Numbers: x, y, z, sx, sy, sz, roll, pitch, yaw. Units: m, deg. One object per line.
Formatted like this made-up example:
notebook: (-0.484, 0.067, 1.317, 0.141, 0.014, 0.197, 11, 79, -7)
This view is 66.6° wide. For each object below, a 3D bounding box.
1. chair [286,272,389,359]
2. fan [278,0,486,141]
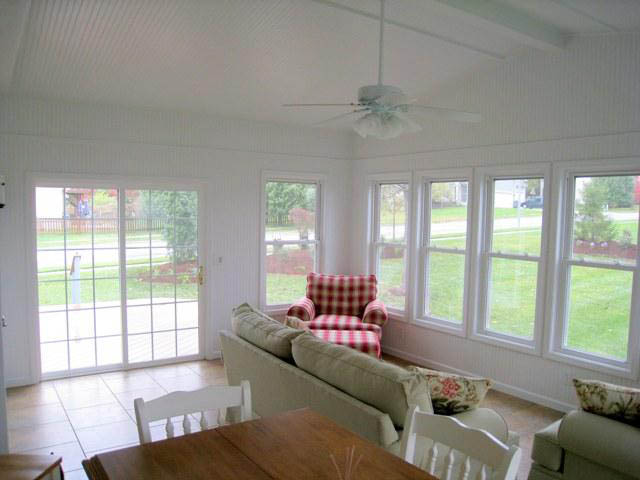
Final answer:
chair: (0.214, 1.003, 6.077, 1.193, 1.049, 1.011, 1, 0, -2)
fan: (0.684, -1.755, 4.890, 1.122, 1.132, 1.039, 14, -19, -43)
